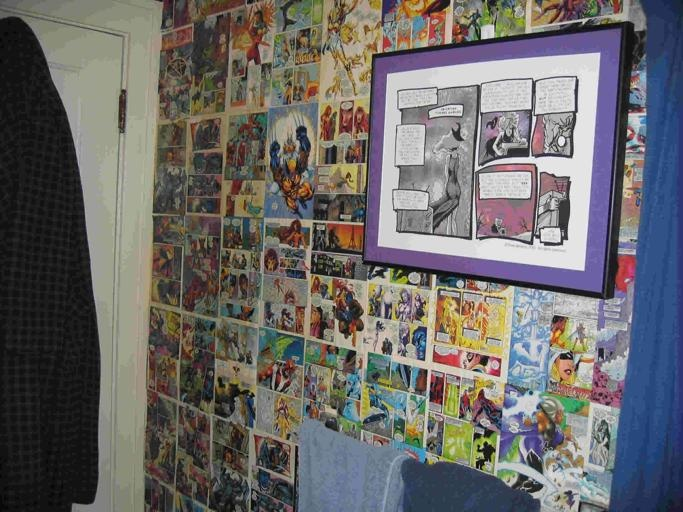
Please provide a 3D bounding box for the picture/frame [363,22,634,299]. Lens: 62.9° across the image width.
[{"bbox_3d":[0.436,-0.258,1.475,0.637,0.635,0.049,7,7,38],"label":"picture/frame"}]
